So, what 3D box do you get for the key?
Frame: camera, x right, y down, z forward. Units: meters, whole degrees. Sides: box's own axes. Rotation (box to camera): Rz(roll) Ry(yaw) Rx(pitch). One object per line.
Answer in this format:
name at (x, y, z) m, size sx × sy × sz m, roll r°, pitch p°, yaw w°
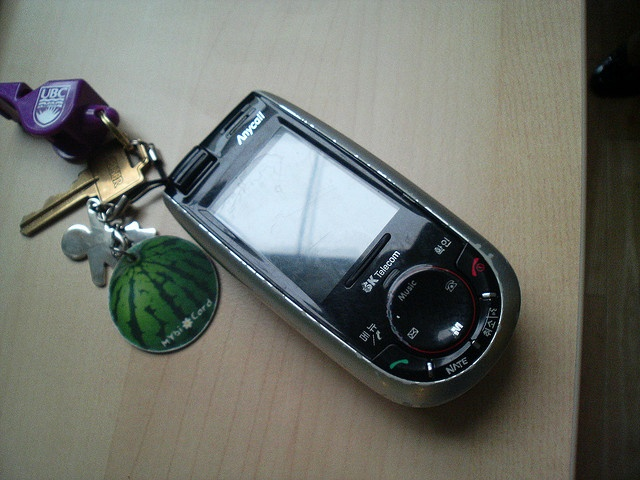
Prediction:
key at (-0.400, -0.061, 1.072) m, size 0.285 × 0.024 × 0.117 m, roll -42°, pitch 72°, yaw 3°
